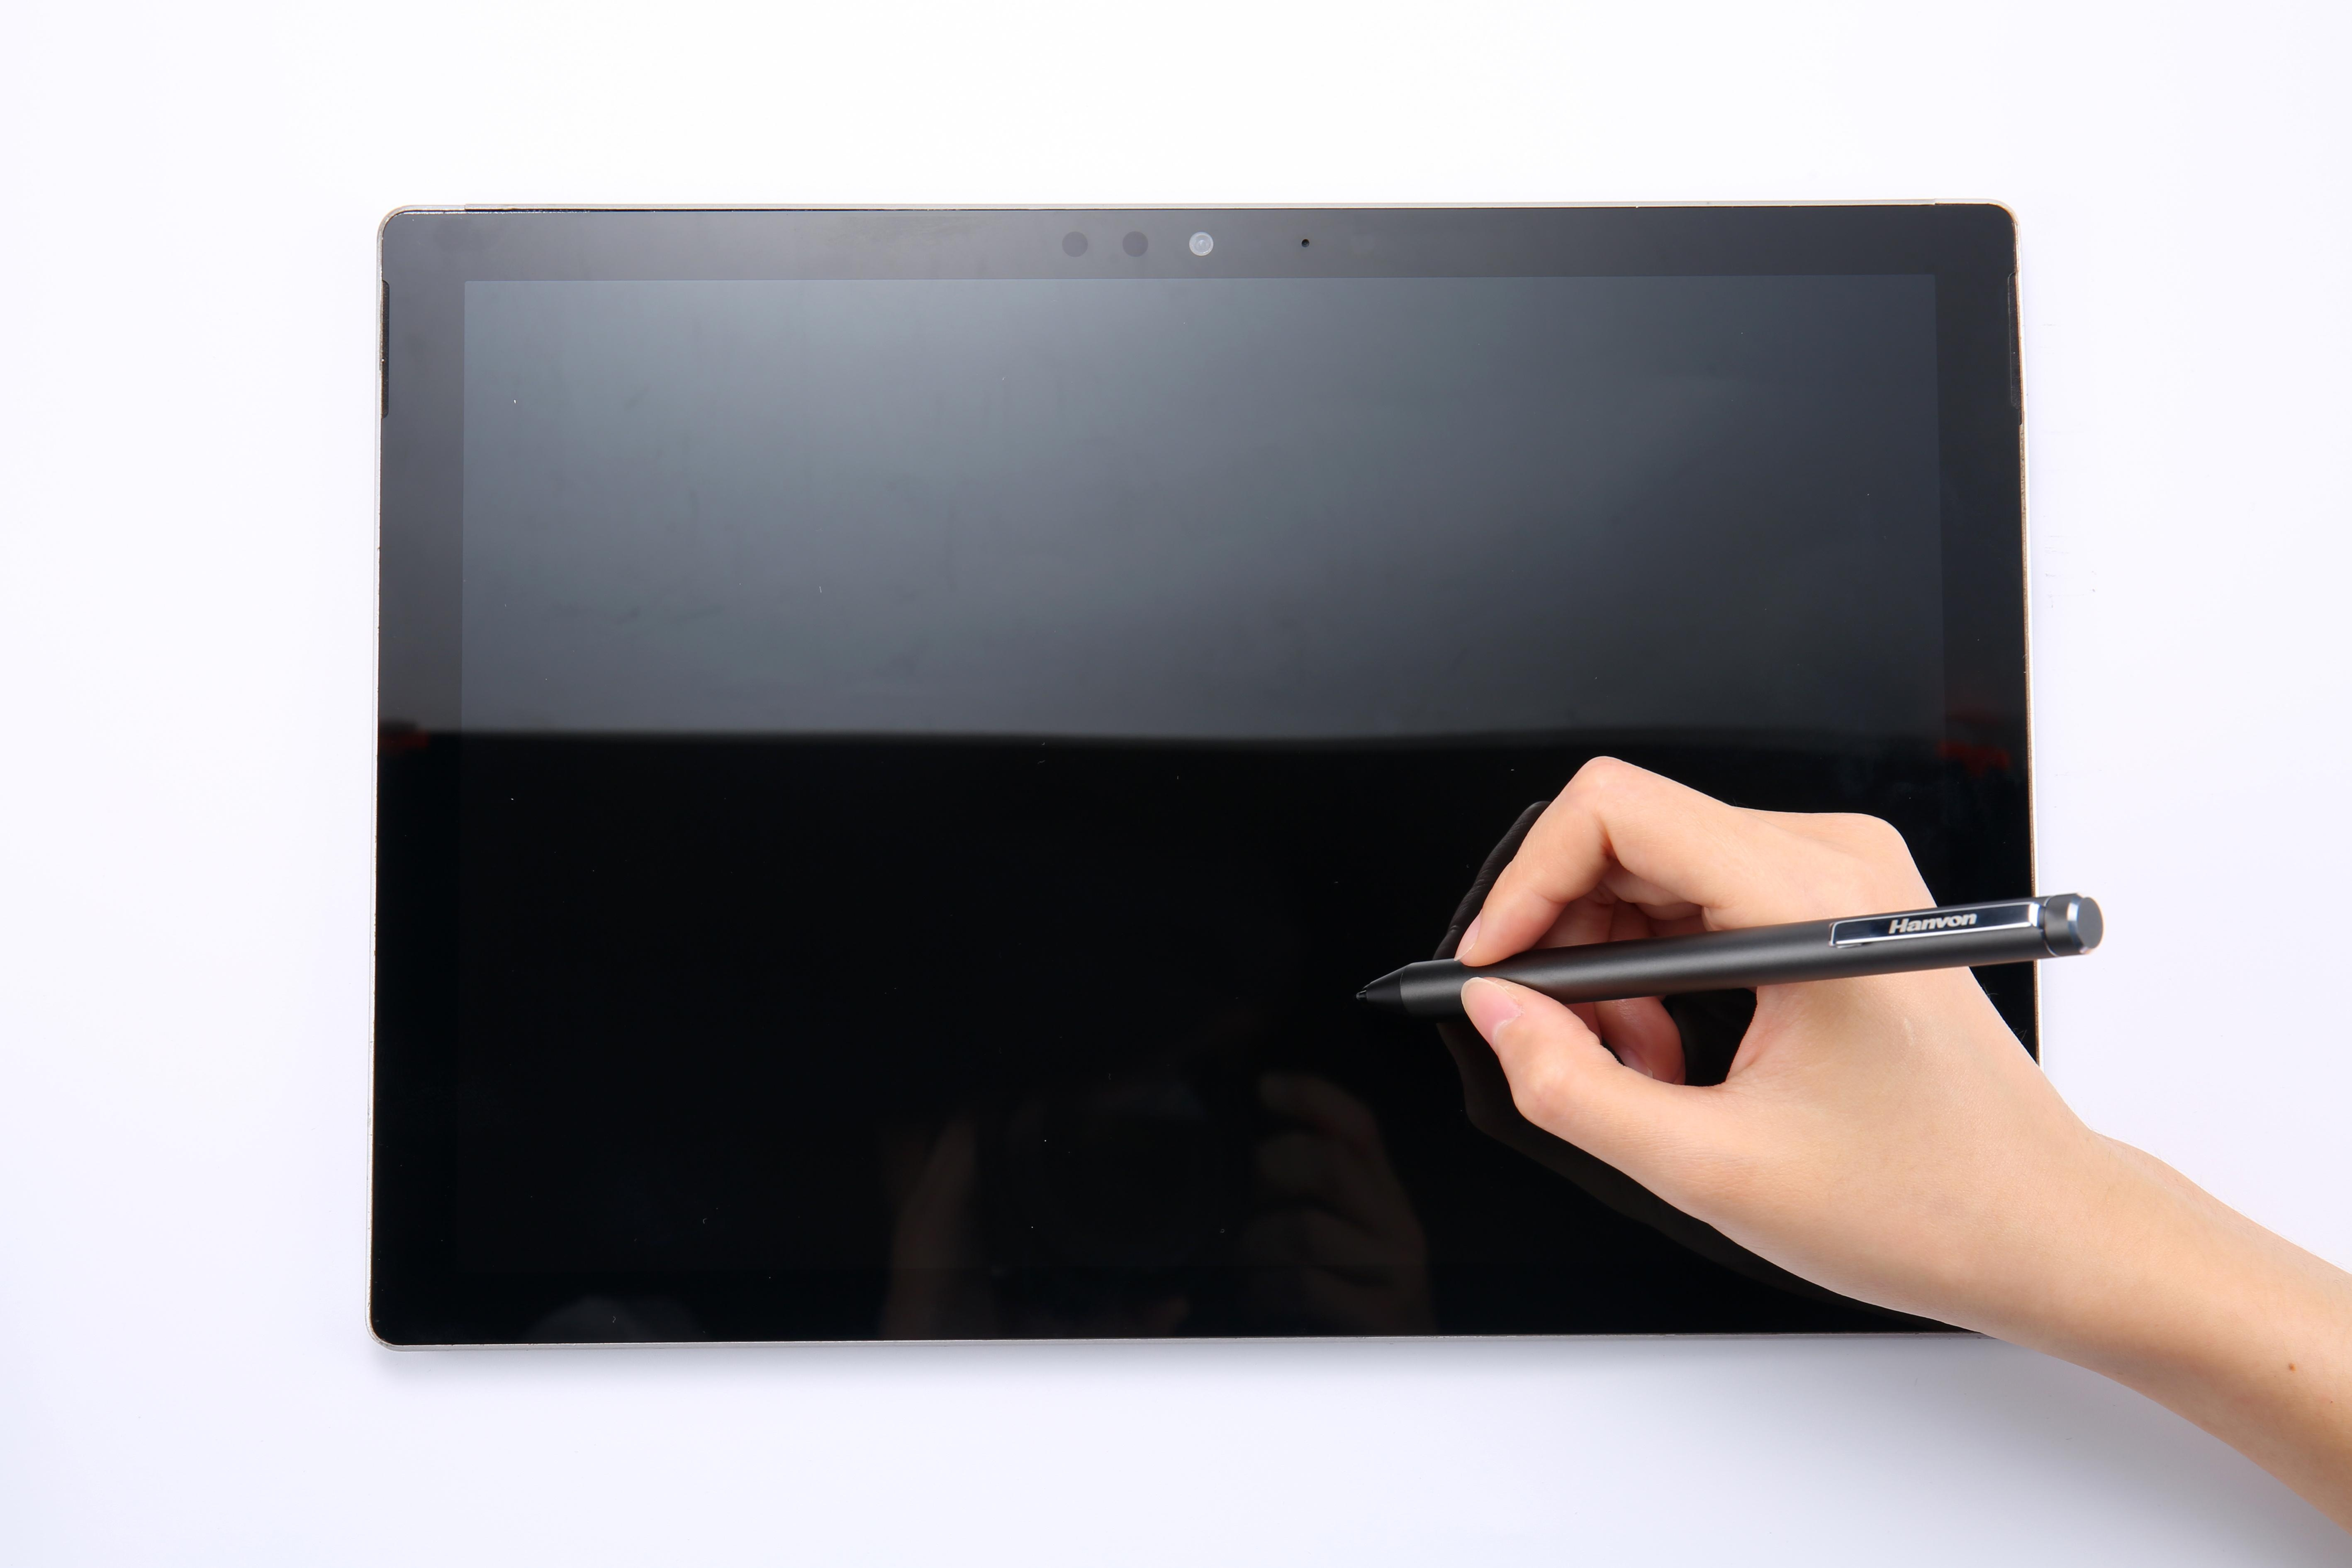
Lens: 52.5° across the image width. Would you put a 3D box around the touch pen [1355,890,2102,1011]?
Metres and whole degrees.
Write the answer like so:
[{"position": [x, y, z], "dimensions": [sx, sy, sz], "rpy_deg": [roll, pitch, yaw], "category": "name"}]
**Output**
[{"position": [0.353, 0.125, 1.698], "dimensions": [0.540, 0.059, 0.068], "rpy_deg": [-9, 99, 34], "category": "touch pen"}]
